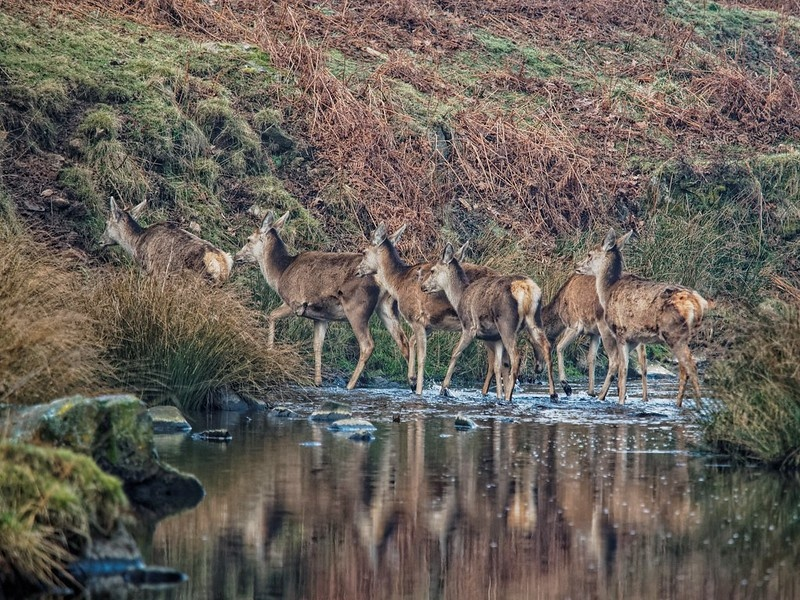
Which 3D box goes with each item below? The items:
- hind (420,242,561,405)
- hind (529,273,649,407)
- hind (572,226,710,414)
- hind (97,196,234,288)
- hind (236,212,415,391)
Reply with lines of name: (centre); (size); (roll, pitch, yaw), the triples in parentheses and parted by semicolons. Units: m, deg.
hind: (1.333, 0.361, 19.677); (0.716, 2.631, 2.521); (-1, 0, -43)
hind: (2.922, 0.580, 20.603); (2.520, 2.150, 0.710); (-3, -8, 43)
hind: (3.728, 0.351, 19.051); (0.757, 2.682, 2.946); (2, 2, -29)
hind: (-3.818, -0.840, 20.437); (2.420, 0.932, 0.751); (22, 31, 21)
hind: (-1.334, 0.039, 20.787); (2.908, 3.011, 0.959); (3, 8, 20)
